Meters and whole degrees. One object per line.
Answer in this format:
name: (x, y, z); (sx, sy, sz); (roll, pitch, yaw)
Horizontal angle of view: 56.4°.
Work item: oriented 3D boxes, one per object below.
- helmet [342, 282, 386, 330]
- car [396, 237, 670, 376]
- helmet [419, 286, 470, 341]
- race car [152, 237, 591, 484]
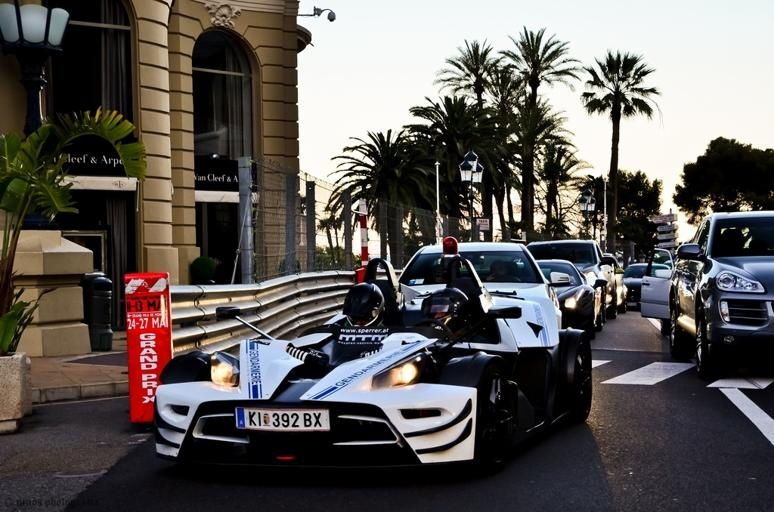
helmet: (-0.237, 0.483, 7.260); (0.311, 0.450, 0.437); (6, 25, 20)
car: (2.499, 0.767, 11.519); (1.961, 1.588, 4.502); (-1, -6, 5)
helmet: (0.599, 0.590, 7.406); (0.452, 0.623, 0.594); (-9, -20, 31)
race car: (0.162, 1.048, 8.269); (3.176, 1.964, 5.341); (-5, -8, 25)
